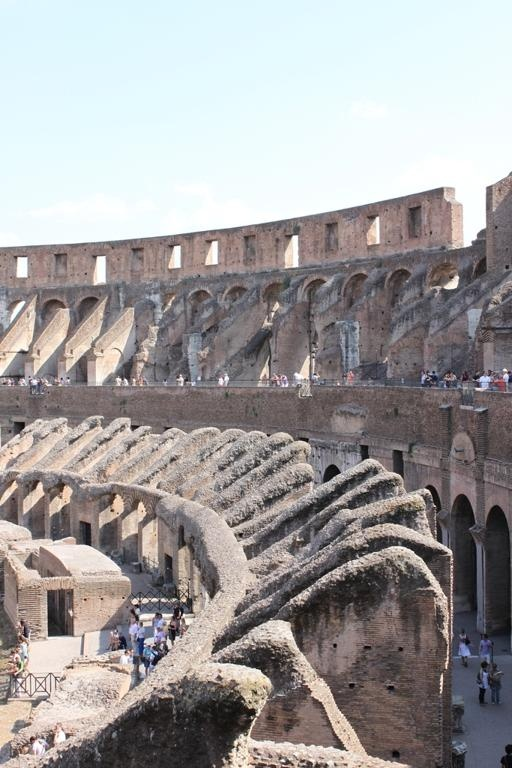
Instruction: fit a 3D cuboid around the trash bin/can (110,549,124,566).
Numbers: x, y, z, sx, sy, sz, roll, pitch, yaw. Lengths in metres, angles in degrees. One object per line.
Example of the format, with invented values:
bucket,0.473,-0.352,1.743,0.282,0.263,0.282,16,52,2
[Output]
trash bin/can,-2.258,2.861,27.981,0.237,0.164,0.241,14,-7,-4
